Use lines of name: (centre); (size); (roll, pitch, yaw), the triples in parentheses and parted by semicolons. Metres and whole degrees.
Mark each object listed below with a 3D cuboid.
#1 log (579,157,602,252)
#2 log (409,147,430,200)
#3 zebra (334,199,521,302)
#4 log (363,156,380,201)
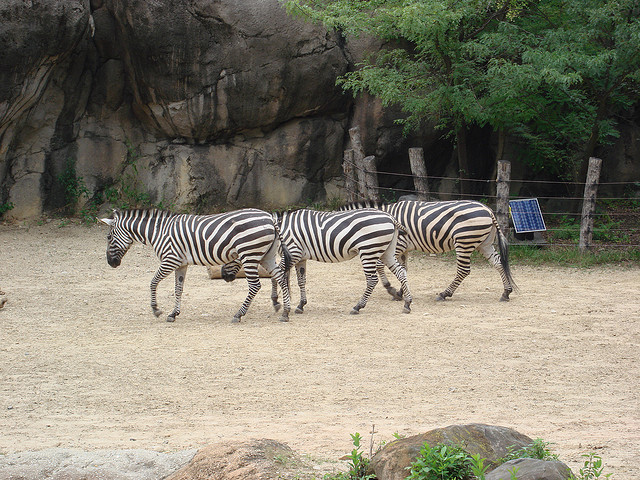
log: (5.716, -0.757, 22.578); (0.390, 1.998, 0.595); (1, 2, 14)
log: (2.248, -1.515, 24.042); (0.462, 1.239, 2.146); (1, 2, 6)
zebra: (1.787, 0.109, 20.059); (3.587, 2.112, 0.865); (-3, 1, 15)
log: (1.190, -1.455, 24.625); (0.386, 0.993, 1.629); (1, 2, 3)
